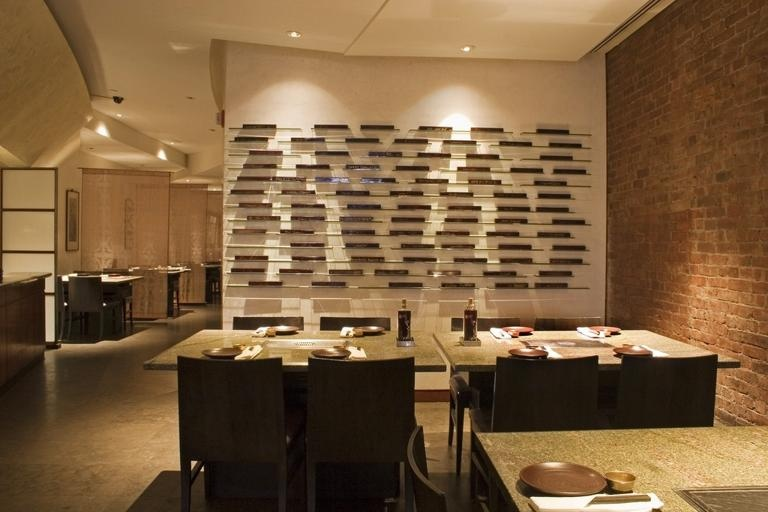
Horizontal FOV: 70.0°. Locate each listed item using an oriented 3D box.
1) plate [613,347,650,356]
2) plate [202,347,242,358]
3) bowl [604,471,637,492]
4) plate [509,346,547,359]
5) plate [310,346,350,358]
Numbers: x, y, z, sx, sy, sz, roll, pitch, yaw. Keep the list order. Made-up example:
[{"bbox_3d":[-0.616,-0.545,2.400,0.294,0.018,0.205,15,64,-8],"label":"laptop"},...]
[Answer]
[{"bbox_3d":[1.811,0.698,4.013,0.247,0.053,0.194,-1,-1,35],"label":"plate"},{"bbox_3d":[-1.160,0.689,3.931,0.275,0.056,0.315,0,-1,1],"label":"plate"},{"bbox_3d":[1.123,1.074,2.609,0.131,0.076,0.102,-1,-1,22],"label":"bowl"},{"bbox_3d":[1.050,0.703,3.993,0.270,0.048,0.391,-1,-1,18],"label":"plate"},{"bbox_3d":[-0.387,0.695,3.936,0.273,0.040,0.453,0,-1,-10],"label":"plate"}]
